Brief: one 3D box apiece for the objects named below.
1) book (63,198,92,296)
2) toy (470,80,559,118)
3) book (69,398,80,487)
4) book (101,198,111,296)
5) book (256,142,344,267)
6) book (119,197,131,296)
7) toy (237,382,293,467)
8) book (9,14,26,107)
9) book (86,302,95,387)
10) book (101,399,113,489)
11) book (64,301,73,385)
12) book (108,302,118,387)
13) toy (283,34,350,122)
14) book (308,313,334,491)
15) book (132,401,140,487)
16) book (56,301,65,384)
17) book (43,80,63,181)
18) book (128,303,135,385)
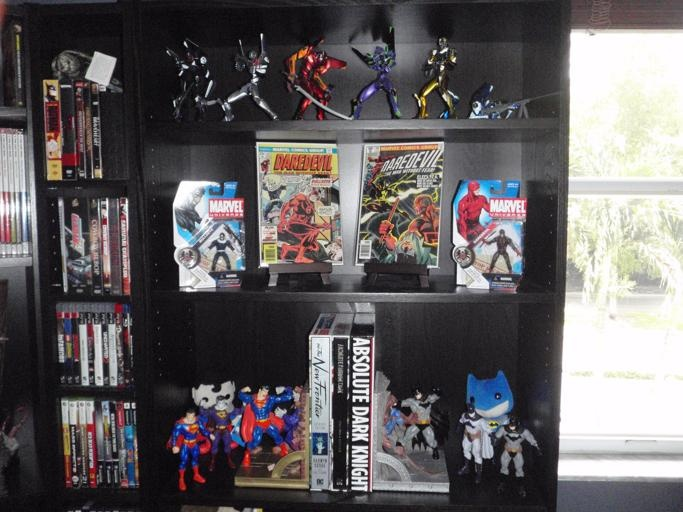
[{"bbox_3d":[-0.825,-0.031,2.088,0.081,0.287,0.016,1,2,11],"label":"book"},{"bbox_3d":[0.546,-0.473,2.121,0.285,0.123,0.103,1,39,15],"label":"toy"},{"bbox_3d":[-0.844,0.589,2.104,0.028,0.268,0.005,0,2,6],"label":"book"},{"bbox_3d":[-0.738,-0.030,2.089,0.028,0.287,0.007,0,2,-3],"label":"book"},{"bbox_3d":[-0.144,-0.165,2.233,0.406,0.577,0.007,-1,-1,-2],"label":"book"},{"bbox_3d":[-0.669,-0.027,2.073,0.023,0.300,0.060,-1,3,-36],"label":"book"},{"bbox_3d":[-0.254,0.573,2.223,0.231,0.354,0.096,-1,-8,-12],"label":"toy"},{"bbox_3d":[-1.000,-0.588,2.052,0.062,0.261,0.022,1,2,29],"label":"book"},{"bbox_3d":[-0.791,0.292,2.100,0.027,0.235,0.004,0,2,0],"label":"book"},{"bbox_3d":[-0.738,0.587,2.102,0.035,0.260,0.009,0,2,7],"label":"book"},{"bbox_3d":[-0.860,0.288,2.101,0.029,0.231,0.004,0,2,3],"label":"book"},{"bbox_3d":[-0.722,0.285,2.104,0.030,0.252,0.007,0,2,4],"label":"book"},{"bbox_3d":[-0.083,-0.601,2.226,0.279,0.344,0.121,-7,23,-34],"label":"toy"},{"bbox_3d":[-0.062,0.494,2.101,0.074,0.487,0.020,0,2,-1],"label":"book"},{"bbox_3d":[-0.642,0.595,2.087,0.012,0.264,0.059,-1,2,-30],"label":"book"},{"bbox_3d":[-0.886,0.279,2.104,0.027,0.245,0.014,0,2,-8],"label":"book"},{"bbox_3d":[-0.893,-0.383,2.059,0.056,0.303,0.017,0,2,5],"label":"book"},{"bbox_3d":[-0.657,0.281,2.085,0.014,0.236,0.051,-1,2,-24],"label":"book"}]
